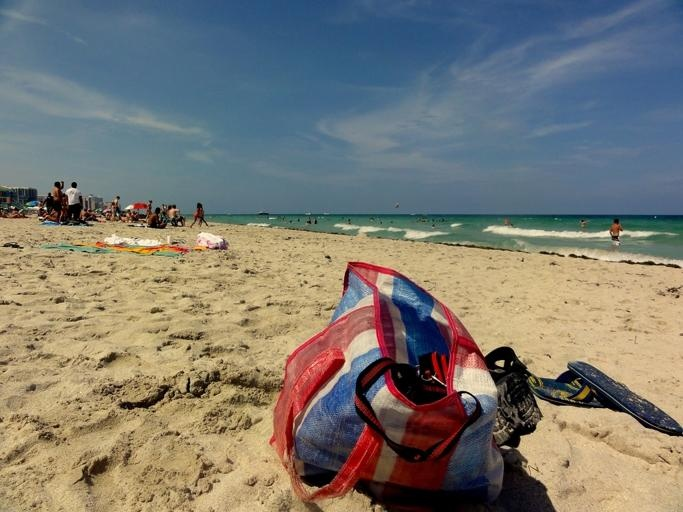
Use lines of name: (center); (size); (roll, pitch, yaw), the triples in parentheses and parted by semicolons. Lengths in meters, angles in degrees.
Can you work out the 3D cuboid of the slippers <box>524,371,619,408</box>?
slippers: (2.073, 1.181, 4.310); (0.618, 0.162, 0.278); (3, 16, 6)
